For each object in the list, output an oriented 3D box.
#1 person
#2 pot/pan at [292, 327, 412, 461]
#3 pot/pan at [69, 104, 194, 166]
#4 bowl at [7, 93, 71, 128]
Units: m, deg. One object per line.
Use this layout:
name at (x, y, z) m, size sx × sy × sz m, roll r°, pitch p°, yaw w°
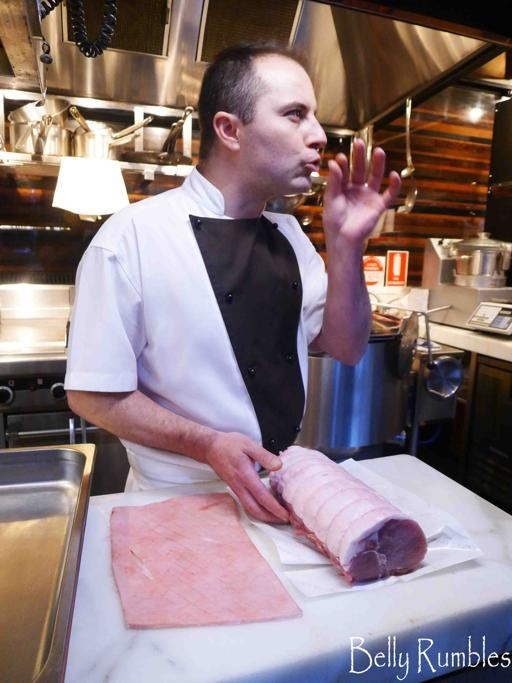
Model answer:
person at (-0.030, -0.095, 0.991) m, size 0.552 × 0.884 × 0.552 m, roll 4°, pitch 11°, yaw 14°
pot/pan at (0.447, 0.242, 2.099) m, size 0.407 × 0.430 × 0.397 m, roll 0°, pitch -9°, yaw 24°
pot/pan at (-0.493, -0.814, 2.173) m, size 0.311 × 0.200 × 0.522 m, roll 18°, pitch 26°, yaw 33°
bowl at (-0.812, -0.880, 2.023) m, size 0.220 × 0.111 × 0.175 m, roll 8°, pitch 13°, yaw 33°
